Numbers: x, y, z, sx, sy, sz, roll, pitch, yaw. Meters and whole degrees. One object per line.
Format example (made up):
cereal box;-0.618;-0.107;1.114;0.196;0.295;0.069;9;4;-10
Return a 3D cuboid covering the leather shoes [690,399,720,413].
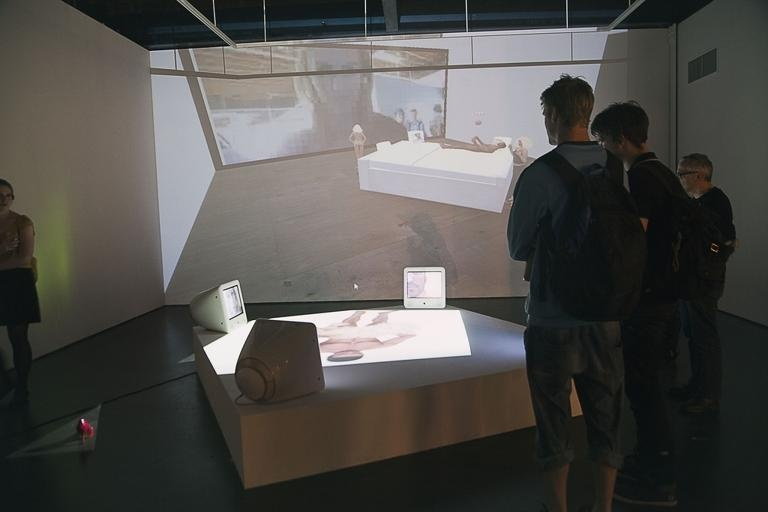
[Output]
leather shoes;2.520;1.182;4.166;0.179;0.064;0.117;0;37;17

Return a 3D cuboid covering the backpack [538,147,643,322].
backpack;1.207;-0.130;3.128;0.613;1.003;0.264;-2;10;16

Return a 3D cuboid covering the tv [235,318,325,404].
tv;-0.680;0.681;3.674;0.680;0.516;0.513;4;11;31

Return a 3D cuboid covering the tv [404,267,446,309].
tv;0.395;0.313;5.219;0.397;0.379;0.040;0;-6;3

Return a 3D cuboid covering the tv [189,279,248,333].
tv;-1.417;0.440;4.704;0.481;0.351;0.385;-1;10;13
